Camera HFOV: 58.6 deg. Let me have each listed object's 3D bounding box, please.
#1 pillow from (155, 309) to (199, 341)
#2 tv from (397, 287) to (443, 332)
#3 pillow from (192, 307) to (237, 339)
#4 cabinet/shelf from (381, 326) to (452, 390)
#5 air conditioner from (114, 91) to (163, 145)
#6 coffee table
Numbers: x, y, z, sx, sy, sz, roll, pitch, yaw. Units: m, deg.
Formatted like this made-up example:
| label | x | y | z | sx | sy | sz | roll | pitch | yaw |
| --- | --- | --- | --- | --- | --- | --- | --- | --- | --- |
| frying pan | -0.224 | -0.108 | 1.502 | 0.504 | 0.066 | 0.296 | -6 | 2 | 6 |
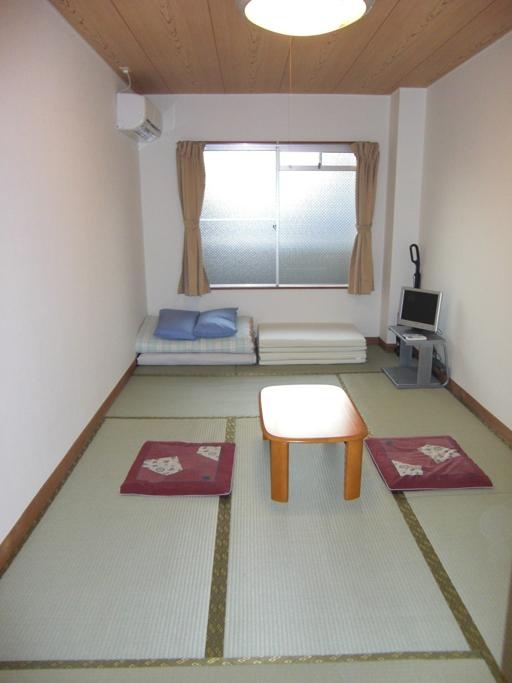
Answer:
| label | x | y | z | sx | sy | sz | roll | pitch | yaw |
| --- | --- | --- | --- | --- | --- | --- | --- | --- | --- |
| pillow | -0.842 | -0.181 | 4.800 | 0.324 | 0.113 | 0.371 | 0 | 40 | 5 |
| tv | 1.531 | -0.292 | 4.220 | 0.059 | 0.332 | 0.368 | 5 | 9 | -25 |
| pillow | -0.417 | -0.178 | 4.798 | 0.314 | 0.113 | 0.366 | -6 | 31 | 8 |
| cabinet/shelf | 1.520 | 0.156 | 4.359 | 0.435 | 0.448 | 0.622 | 2 | 11 | 3 |
| air conditioner | -1.090 | -2.085 | 4.214 | 0.379 | 0.444 | 0.724 | -3 | 13 | 1 |
| coffee table | 0.327 | 0.582 | 2.875 | 0.639 | 0.387 | 1.037 | -1 | 11 | 6 |
